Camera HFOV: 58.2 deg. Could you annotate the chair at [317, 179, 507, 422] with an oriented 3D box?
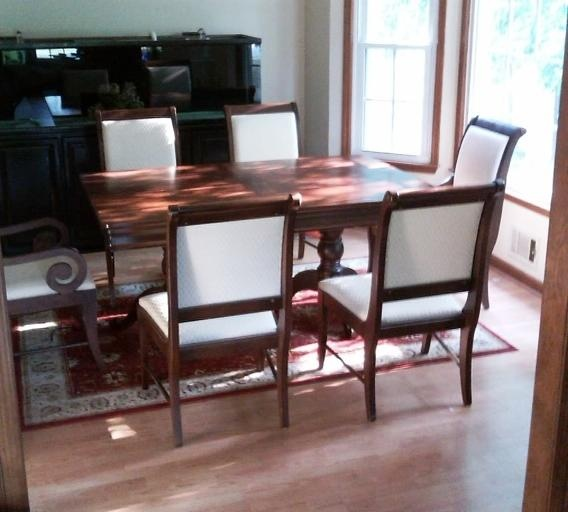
[{"bbox_3d":[0.530,0.144,2.226,0.627,1.008,0.424,-7,23,-12],"label":"chair"}]
